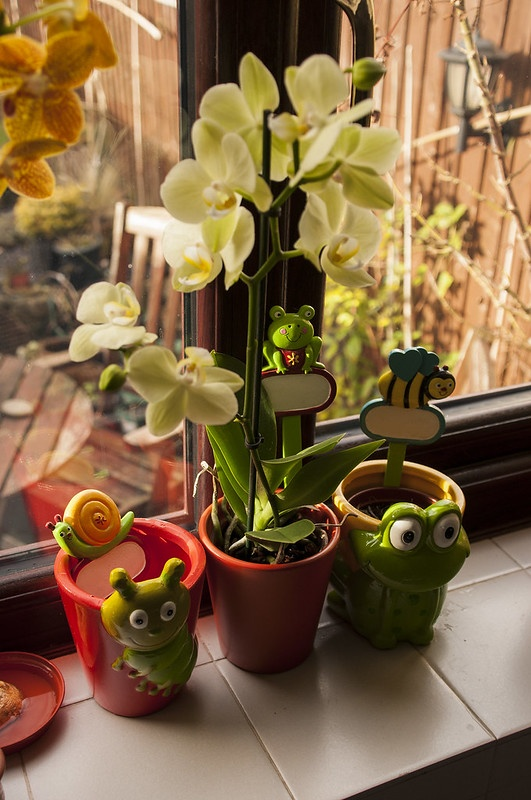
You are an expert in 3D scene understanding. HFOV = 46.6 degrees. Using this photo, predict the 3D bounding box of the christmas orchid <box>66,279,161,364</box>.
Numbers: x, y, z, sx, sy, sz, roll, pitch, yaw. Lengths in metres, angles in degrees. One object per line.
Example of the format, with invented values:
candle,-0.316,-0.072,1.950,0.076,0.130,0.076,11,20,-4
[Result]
christmas orchid,-0.115,-0.054,0.450,0.058,0.048,0.094,-7,27,-17

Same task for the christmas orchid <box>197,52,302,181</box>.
christmas orchid,-0.006,-0.191,0.412,0.082,0.073,0.031,22,68,24

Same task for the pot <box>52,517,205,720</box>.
pot,-0.106,0.235,0.737,0.213,0.212,0.203,3,32,-2

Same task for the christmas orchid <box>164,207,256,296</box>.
christmas orchid,-0.033,-0.114,0.463,0.070,0.064,0.035,45,29,27

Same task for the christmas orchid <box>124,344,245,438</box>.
christmas orchid,-0.050,-0.012,0.426,0.071,0.058,0.075,10,27,16

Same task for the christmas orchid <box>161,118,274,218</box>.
christmas orchid,-0.029,-0.143,0.398,0.043,0.068,0.078,-19,33,-35

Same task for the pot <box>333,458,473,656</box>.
pot,0.163,0.189,0.760,0.159,0.186,0.178,0,15,-9

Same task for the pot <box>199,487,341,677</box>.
pot,0.012,0.201,0.765,0.191,0.192,0.184,0,34,0
